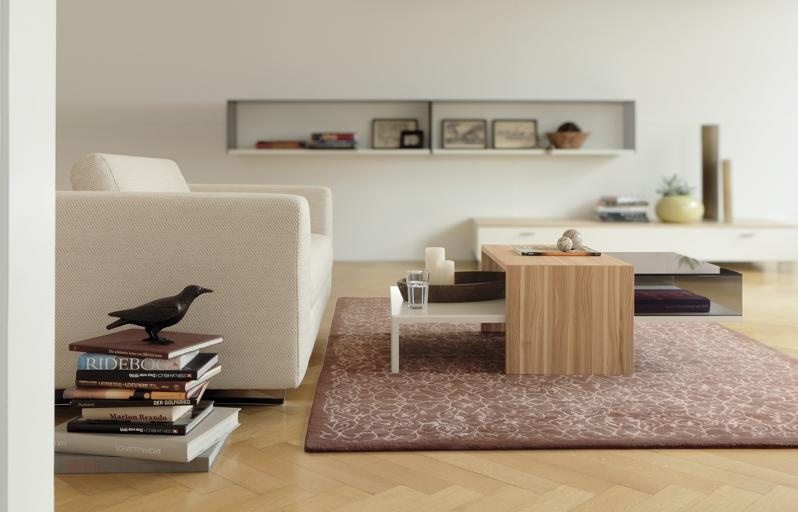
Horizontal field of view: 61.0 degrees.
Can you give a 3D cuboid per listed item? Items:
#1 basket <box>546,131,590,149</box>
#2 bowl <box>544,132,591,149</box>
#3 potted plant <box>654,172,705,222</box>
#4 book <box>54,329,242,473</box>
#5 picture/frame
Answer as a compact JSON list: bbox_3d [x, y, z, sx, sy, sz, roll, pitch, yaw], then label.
[{"bbox_3d":[1.369,-0.919,5.482,0.265,0.062,0.216,1,4,19],"label":"basket"},{"bbox_3d":[1.363,-0.931,5.482,0.259,0.056,0.216,-1,2,-27],"label":"bowl"},{"bbox_3d":[2.153,-0.430,5.440,0.531,0.316,0.431,0,3,15],"label":"potted plant"},{"bbox_3d":[-0.781,0.481,2.298,0.667,0.255,0.493,0,2,-3],"label":"book"},{"bbox_3d":[0.465,-1.000,5.562,1.387,0.296,0.198,-1,6,2],"label":"picture/frame"}]
